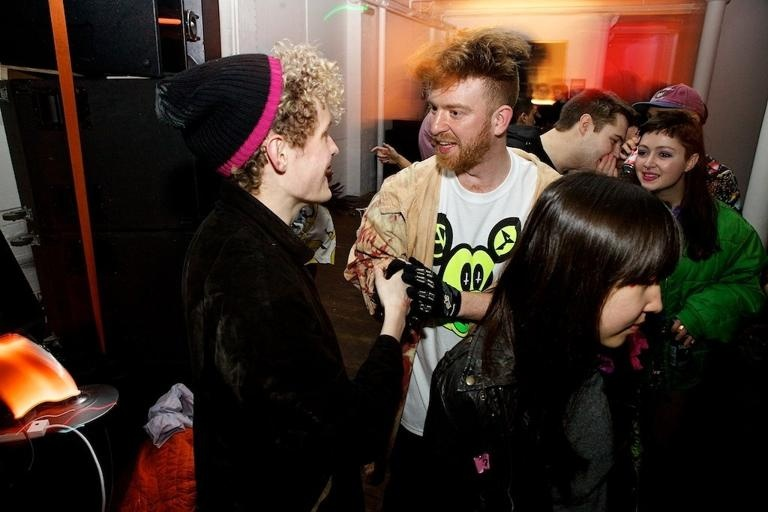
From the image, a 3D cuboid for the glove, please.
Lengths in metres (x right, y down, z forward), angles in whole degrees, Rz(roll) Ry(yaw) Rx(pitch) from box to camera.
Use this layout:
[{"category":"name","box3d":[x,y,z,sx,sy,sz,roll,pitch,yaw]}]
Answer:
[{"category":"glove","box3d":[0.165,0.185,2.544,0.367,0.289,0.139,31,-14,-38]}]

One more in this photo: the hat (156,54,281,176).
[{"category":"hat","box3d":[-0.637,-0.563,2.323,0.521,0.421,0.411,-8,5,13]}]
